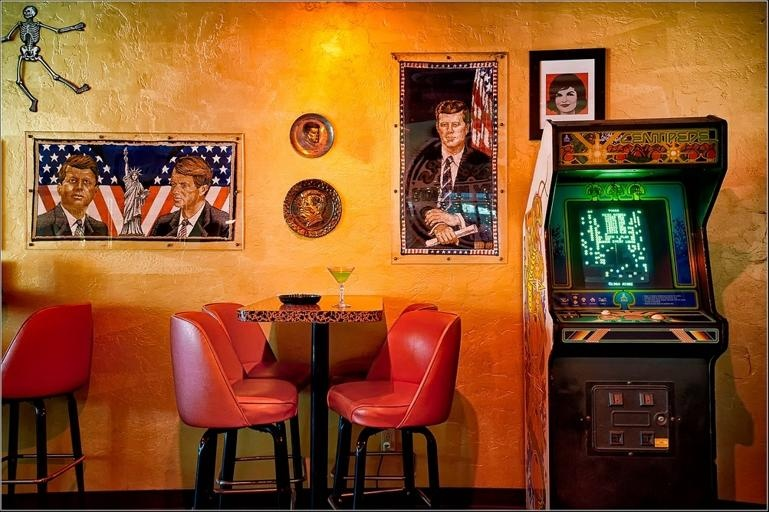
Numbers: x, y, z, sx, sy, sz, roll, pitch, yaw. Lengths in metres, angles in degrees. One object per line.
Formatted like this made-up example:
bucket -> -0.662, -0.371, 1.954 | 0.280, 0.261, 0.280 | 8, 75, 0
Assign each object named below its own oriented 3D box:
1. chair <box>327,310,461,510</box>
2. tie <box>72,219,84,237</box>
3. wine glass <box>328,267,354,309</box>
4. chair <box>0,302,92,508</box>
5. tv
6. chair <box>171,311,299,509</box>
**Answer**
chair -> 0.104, 1.083, 5.111 | 0.937, 1.450, 0.787 | 0, -4, 12
tie -> -2.493, -0.228, 5.751 | 0.099, 0.134, 0.036 | 0, 2, -12
wine glass -> -0.321, 0.222, 5.336 | 0.266, 0.309, 0.260 | 0, -2, 1
chair -> -2.596, 1.115, 5.444 | 0.613, 1.496, 0.485 | 2, -4, -22
tv -> 1.665, -0.060, 4.911 | 0.667, 0.613, 0.066 | -1, -4, 2
chair -> -1.057, 1.091, 4.934 | 0.870, 1.398, 0.489 | 2, -4, -16
